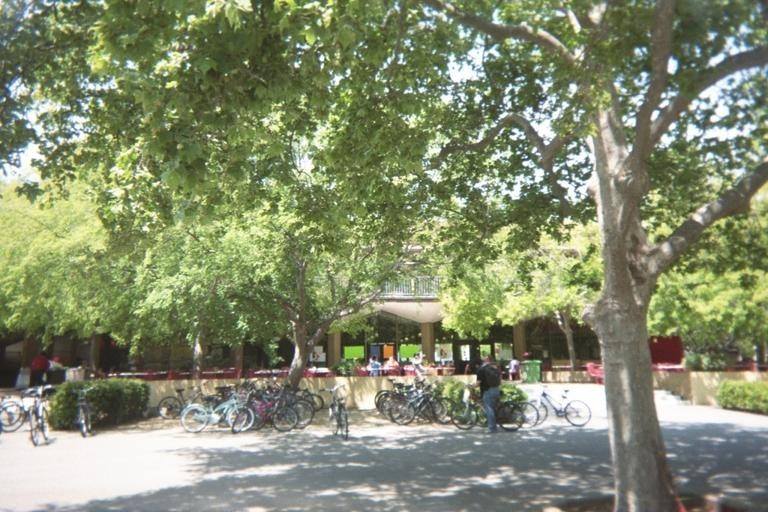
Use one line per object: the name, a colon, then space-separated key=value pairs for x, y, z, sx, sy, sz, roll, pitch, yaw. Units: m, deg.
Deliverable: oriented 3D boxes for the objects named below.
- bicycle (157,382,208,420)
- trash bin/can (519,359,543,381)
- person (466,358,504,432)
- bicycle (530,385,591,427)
bicycle: x=-7.692 y=5.448 z=20.566 sx=2.358 sy=1.548 sz=1.200 roll=1 pitch=-2 yaw=-12
trash bin/can: x=9.718 y=7.517 z=35.968 sx=1.501 sy=1.693 sz=1.556 roll=-1 pitch=-5 yaw=7
person: x=3.197 y=4.150 z=16.681 sx=0.692 sy=2.243 sz=1.069 roll=-5 pitch=-14 yaw=9
bicycle: x=5.787 y=4.851 z=17.865 sx=1.605 sy=1.294 sz=1.603 roll=-8 pitch=-16 yaw=19
